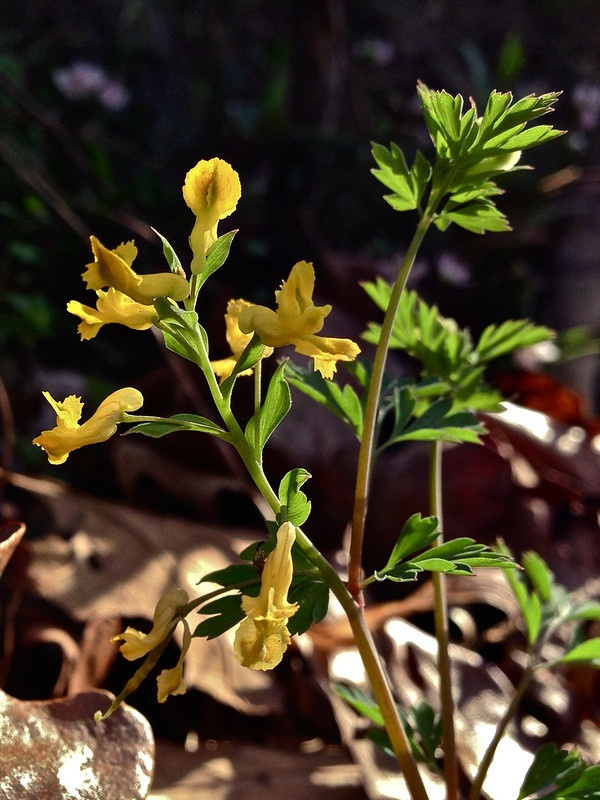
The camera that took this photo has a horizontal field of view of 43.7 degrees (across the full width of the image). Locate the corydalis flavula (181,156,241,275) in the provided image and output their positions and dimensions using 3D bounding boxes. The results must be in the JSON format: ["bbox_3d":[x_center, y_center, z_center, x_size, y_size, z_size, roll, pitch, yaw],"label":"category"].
[{"bbox_3d":[-0.157,-0.314,1.316,0.104,0.047,0.203,11,75,5],"label":"corydalis flavula"}]

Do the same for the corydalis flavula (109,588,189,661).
[{"bbox_3d":[-0.228,0.358,1.256,0.056,0.073,0.156,40,44,23],"label":"corydalis flavula"}]

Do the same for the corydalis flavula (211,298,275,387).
[{"bbox_3d":[-0.112,-0.107,1.389,0.055,0.145,0.149,22,6,-29],"label":"corydalis flavula"}]

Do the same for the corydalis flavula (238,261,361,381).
[{"bbox_3d":[0.010,-0.128,1.229,0.236,0.196,0.080,-13,61,17],"label":"corydalis flavula"}]

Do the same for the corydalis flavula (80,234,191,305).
[{"bbox_3d":[-0.252,-0.192,1.246,0.154,0.115,0.059,37,85,-5],"label":"corydalis flavula"}]

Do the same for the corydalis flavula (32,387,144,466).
[{"bbox_3d":[-0.371,0.041,1.286,0.162,0.060,0.156,-23,10,-24],"label":"corydalis flavula"}]
